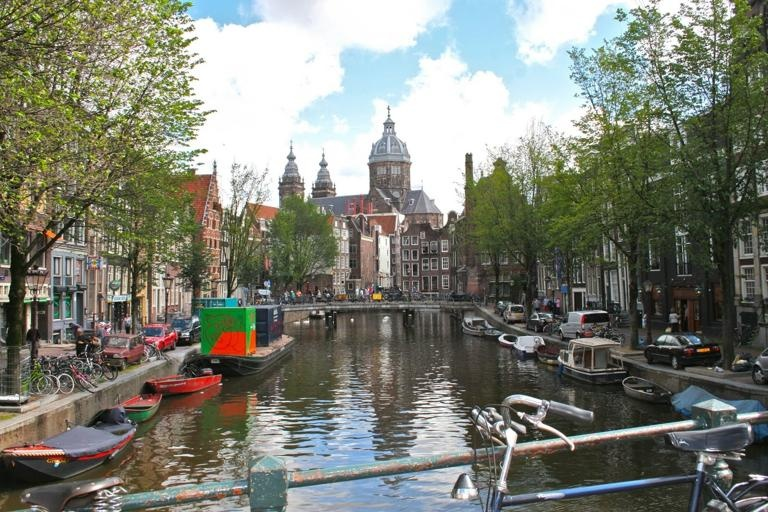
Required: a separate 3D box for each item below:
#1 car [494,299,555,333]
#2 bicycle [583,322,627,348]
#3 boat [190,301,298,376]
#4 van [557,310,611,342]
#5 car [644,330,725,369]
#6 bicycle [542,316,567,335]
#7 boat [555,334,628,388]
[{"bbox_3d":[11.810,5.173,62.611,1.726,1.272,4.222,1,3,-15],"label":"car"},{"bbox_3d":[13.724,4.886,45.893,1.370,1.272,2.401,1,-5,-30],"label":"bicycle"},{"bbox_3d":[-9.306,5.307,49.238,5.268,5.057,17.712,-1,-8,-3],"label":"boat"},{"bbox_3d":[12.897,4.471,47.752,1.933,1.377,2.800,-1,0,-11],"label":"van"},{"bbox_3d":[14.066,4.381,35.404,1.940,1.392,4.419,-5,-2,-5],"label":"car"},{"bbox_3d":[12.369,5.111,55.230,1.284,0.692,1.704,-2,1,-6],"label":"bicycle"},{"bbox_3d":[10.706,5.324,39.376,2.257,1.939,5.581,-1,0,-9],"label":"boat"}]
